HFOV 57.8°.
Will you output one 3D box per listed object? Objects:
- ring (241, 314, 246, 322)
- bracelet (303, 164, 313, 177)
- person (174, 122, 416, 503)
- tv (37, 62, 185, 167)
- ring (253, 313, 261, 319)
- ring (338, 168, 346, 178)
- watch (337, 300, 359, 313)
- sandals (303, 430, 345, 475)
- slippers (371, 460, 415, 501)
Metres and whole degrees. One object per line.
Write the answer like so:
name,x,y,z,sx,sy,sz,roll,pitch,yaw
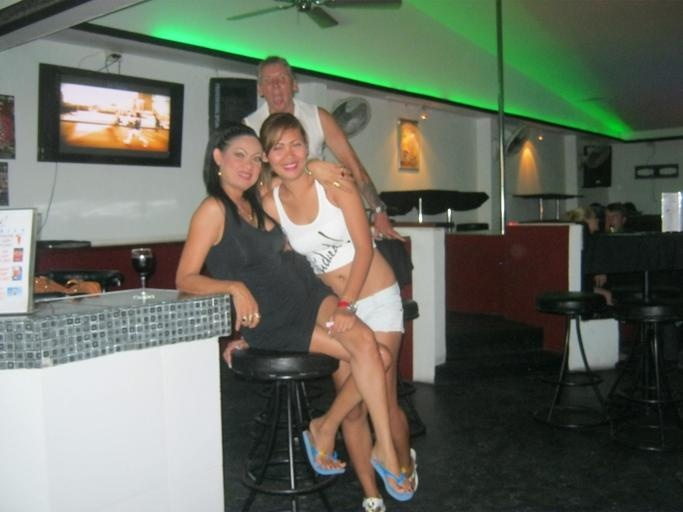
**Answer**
ring,-0.403,0.262,2.608,0.018,0.021,0.022,-2,2,2
bracelet,-0.151,-0.404,2.951,0.048,0.045,0.011,-44,1,16
person,-0.277,0.243,2.844,0.882,1.714,0.589,-5,9,-14
tv,-2.289,-1.389,6.064,1.274,0.719,0.089,-3,13,-39
ring,-0.355,0.255,2.638,0.023,0.015,0.026,5,-8,-33
ring,0.011,-0.394,2.936,0.033,0.041,0.016,-1,7,1
watch,0.029,0.231,2.843,0.083,0.055,0.088,-3,8,-3
sandals,-0.104,0.962,2.976,0.137,0.252,0.062,-21,-12,-48
slippers,0.233,1.015,2.830,0.181,0.186,0.095,-2,9,3
